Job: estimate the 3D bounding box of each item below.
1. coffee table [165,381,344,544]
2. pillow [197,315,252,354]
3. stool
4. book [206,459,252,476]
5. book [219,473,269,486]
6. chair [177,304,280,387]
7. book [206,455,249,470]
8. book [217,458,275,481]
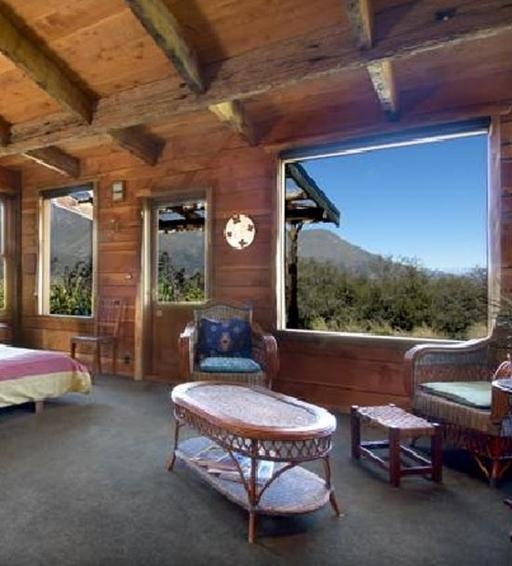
[{"bbox_3d":[-0.023,0.854,2.507,0.588,0.473,0.986,-1,3,-34],"label":"coffee table"},{"bbox_3d":[-0.246,0.440,3.930,0.318,0.299,0.082,-1,-18,0],"label":"pillow"},{"bbox_3d":[0.820,0.784,2.746,0.350,0.353,0.592,1,-2,-15],"label":"stool"},{"bbox_3d":[-0.138,0.960,2.499,0.154,0.035,0.149,1,-3,4],"label":"book"},{"bbox_3d":[-0.052,0.944,2.307,0.160,0.036,0.155,0,-6,25],"label":"book"},{"bbox_3d":[-0.201,0.500,3.768,0.759,0.880,0.696,1,-7,-4],"label":"chair"},{"bbox_3d":[-0.131,0.952,2.533,0.186,0.042,0.182,-6,-10,34],"label":"book"},{"bbox_3d":[-0.019,0.951,2.432,0.205,0.051,0.200,-4,-8,31],"label":"book"}]
